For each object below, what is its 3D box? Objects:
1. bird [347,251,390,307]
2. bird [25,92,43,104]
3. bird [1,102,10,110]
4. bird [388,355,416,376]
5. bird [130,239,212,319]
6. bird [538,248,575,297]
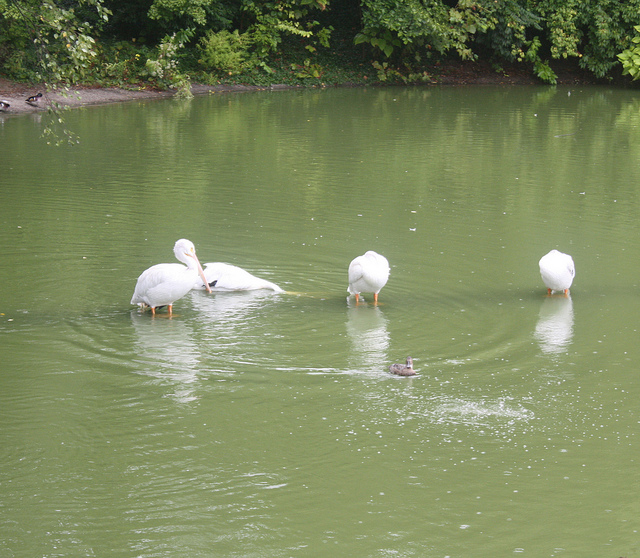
[{"bbox_3d":[0.708,-0.032,15.631,0.775,0.779,0.939,0,17,-8],"label":"bird"},{"bbox_3d":[-9.806,-6.195,34.501,0.536,0.369,0.923,-4,10,-16],"label":"bird"},{"bbox_3d":[-10.474,-5.760,33.491,0.195,0.223,0.388,0,10,7],"label":"bird"},{"bbox_3d":[1.080,1.141,13.406,0.355,0.268,0.294,-1,11,3],"label":"bird"},{"bbox_3d":[-2.279,-0.017,15.323,1.110,1.159,1.226,2,18,-40],"label":"bird"},{"bbox_3d":[3.712,-0.066,15.911,0.509,0.727,0.492,1,11,12],"label":"bird"}]
